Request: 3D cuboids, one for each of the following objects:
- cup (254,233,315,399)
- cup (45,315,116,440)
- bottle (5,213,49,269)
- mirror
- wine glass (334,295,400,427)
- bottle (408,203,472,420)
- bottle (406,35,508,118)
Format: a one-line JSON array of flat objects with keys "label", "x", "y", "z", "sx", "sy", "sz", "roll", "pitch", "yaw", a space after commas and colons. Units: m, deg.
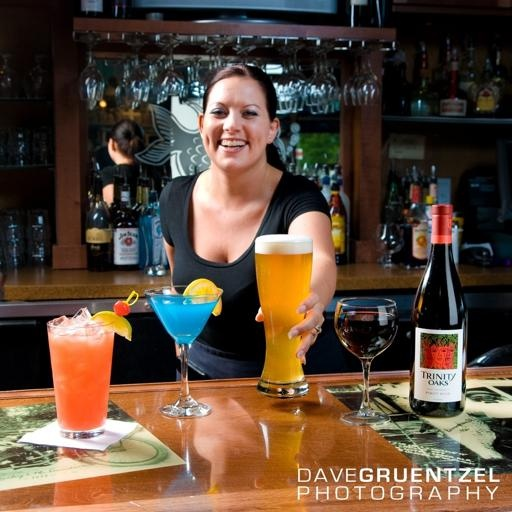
[{"label": "cup", "x": 0.045, "y": 0.101, "z": 0.919, "sx": 0.092, "sy": 0.270, "sz": 0.059, "roll": 1, "pitch": 3, "yaw": 1}, {"label": "cup", "x": -0.255, "y": 0.178, "z": 0.865, "sx": 0.134, "sy": 0.240, "sz": 0.133, "roll": 0, "pitch": 3, "yaw": 0}, {"label": "bottle", "x": -1.106, "y": -0.085, "z": 2.586, "sx": 0.219, "sy": 0.270, "sz": 0.148, "roll": -1, "pitch": 3, "yaw": -22}, {"label": "mirror", "x": -0.196, "y": -0.475, "z": 2.187, "sx": 1.277, "sy": 0.939, "sz": 0.172, "roll": -1, "pitch": 1, "yaw": -9}, {"label": "wine glass", "x": 0.177, "y": 0.153, "z": 0.874, "sx": 0.094, "sy": 0.175, "sz": 0.202, "roll": 1, "pitch": 3, "yaw": 12}, {"label": "bottle", "x": 0.278, "y": 0.084, "z": 0.819, "sx": 0.085, "sy": 0.320, "sz": 0.144, "roll": 1, "pitch": 3, "yaw": 17}, {"label": "bottle", "x": 1.019, "y": -0.913, "z": 2.781, "sx": 0.497, "sy": 0.463, "sz": 0.175, "roll": -1, "pitch": 3, "yaw": -15}]
